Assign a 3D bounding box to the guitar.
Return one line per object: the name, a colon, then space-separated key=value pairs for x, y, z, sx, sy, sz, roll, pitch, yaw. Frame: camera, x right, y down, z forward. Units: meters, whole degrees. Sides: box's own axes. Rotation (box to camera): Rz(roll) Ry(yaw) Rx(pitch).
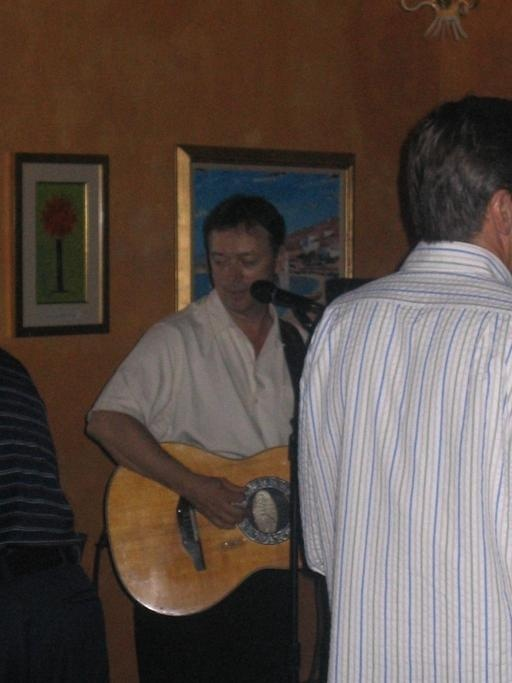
guitar: x=-0.172 y=0.488 z=3.904 sx=0.464 sy=0.097 sz=0.945 roll=-50 pitch=-25 yaw=17
